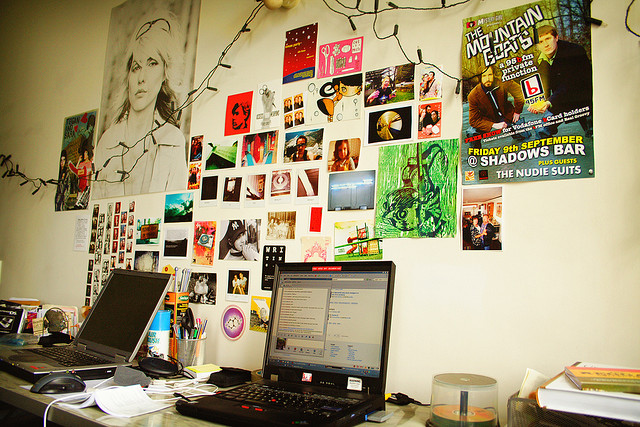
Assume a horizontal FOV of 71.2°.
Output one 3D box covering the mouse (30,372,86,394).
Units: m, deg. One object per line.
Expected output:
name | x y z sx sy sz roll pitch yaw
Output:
mouse | -0.909 0.588 1.552 0.114 0.039 0.081 4 -7 -22

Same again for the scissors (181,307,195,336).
scissors | -0.590 0.479 1.988 0.032 0.036 0.133 0 35 -7

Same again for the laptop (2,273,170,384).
laptop | -0.961 0.469 1.840 0.468 0.295 0.474 -2 -7 40

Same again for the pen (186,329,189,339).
pen | -0.575 0.526 1.926 0.008 0.027 0.011 1 -11 2

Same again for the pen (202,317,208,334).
pen | -0.515 0.499 1.986 0.010 0.073 0.010 19 -12 3
